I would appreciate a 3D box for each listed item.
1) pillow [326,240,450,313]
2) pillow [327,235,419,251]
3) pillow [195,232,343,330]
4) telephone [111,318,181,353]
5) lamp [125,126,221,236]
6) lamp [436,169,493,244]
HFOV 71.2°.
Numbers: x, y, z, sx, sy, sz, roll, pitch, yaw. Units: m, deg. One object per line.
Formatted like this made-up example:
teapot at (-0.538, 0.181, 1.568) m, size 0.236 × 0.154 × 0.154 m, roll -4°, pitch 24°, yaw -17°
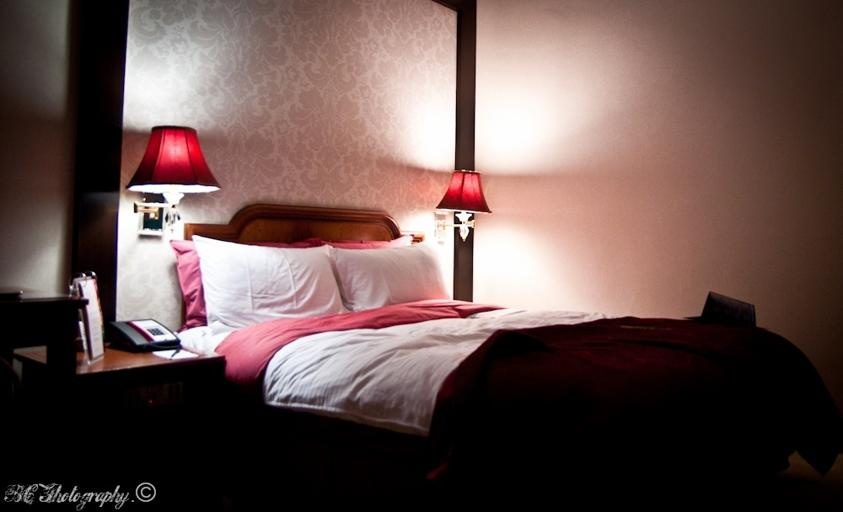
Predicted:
pillow at (-0.188, 0.132, 4.255) m, size 0.977 × 0.350 × 0.415 m, roll -6°, pitch 23°, yaw -44°
pillow at (-0.369, -0.092, 4.442) m, size 0.783 × 0.099 × 0.210 m, roll 0°, pitch 16°, yaw -31°
pillow at (-0.942, 0.191, 3.882) m, size 1.070 × 0.651 × 0.367 m, roll 0°, pitch -10°, yaw -38°
telephone at (-1.550, 0.424, 3.281) m, size 0.378 × 0.109 × 0.301 m, roll 7°, pitch 3°, yaw 25°
lamp at (-1.608, -0.477, 3.894) m, size 0.643 × 0.789 × 0.674 m, roll -6°, pitch 10°, yaw -44°
lamp at (0.347, -0.386, 5.064) m, size 0.506 × 0.680 × 0.472 m, roll 5°, pitch 9°, yaw 18°
